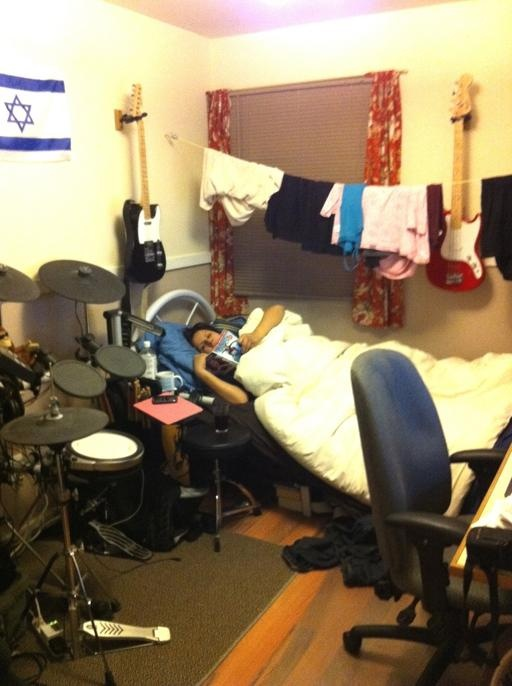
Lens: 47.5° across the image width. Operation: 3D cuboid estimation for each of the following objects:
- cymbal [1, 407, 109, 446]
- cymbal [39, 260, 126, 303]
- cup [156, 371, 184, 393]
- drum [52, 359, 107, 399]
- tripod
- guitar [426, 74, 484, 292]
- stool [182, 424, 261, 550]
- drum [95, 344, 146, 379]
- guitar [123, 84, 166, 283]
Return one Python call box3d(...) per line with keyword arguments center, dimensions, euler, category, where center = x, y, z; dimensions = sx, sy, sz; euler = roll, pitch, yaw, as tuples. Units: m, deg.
box3d(center=(-0.578, 0.240, 1.633), dimensions=(0.172, 0.039, 0.170), euler=(2, 18, 0), category="cymbal")
box3d(center=(-0.695, -0.272, 2.365), dimensions=(0.304, 0.069, 0.308), euler=(-1, -28, 4), category="cymbal")
box3d(center=(-0.402, 0.188, 2.723), dimensions=(0.120, 0.110, 0.076), euler=(6, 17, 12), category="cup")
box3d(center=(-0.565, 0.127, 1.849), dimensions=(0.156, 0.132, 0.327), euler=(-6, 13, -19), category="drum")
box3d(center=(-0.699, 0.605, 1.888), dimensions=(0.271, 0.685, 0.854), euler=(-7, 14, -25), category="tripod")
box3d(center=(1.071, -0.814, 3.083), dimensions=(0.248, 1.107, 0.255), euler=(-3, 13, -5), category="guitar")
box3d(center=(-0.177, 0.599, 2.521), dimensions=(0.330, 0.450, 0.320), euler=(3, 12, 31), category="stool")
box3d(center=(-0.498, 0.073, 2.148), dimensions=(0.174, 0.101, 0.257), euler=(-4, 12, -11), category="drum")
box3d(center=(-0.600, -0.780, 2.905), dimensions=(0.162, 0.958, 0.244), euler=(4, 14, 22), category="guitar")
